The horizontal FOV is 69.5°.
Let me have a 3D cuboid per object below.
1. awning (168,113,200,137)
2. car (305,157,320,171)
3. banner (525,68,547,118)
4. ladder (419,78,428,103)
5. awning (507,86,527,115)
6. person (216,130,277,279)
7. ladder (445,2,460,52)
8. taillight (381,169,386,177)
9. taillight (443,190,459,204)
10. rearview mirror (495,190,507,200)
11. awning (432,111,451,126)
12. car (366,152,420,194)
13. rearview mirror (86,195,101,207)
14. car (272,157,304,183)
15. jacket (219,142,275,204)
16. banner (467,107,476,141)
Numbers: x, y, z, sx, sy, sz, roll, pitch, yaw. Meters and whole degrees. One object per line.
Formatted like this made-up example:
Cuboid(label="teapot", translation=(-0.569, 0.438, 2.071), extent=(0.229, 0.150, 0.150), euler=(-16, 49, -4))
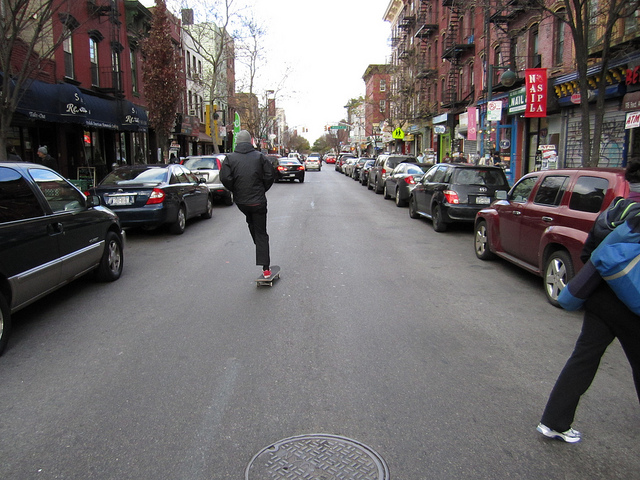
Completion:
Cuboid(label="awning", translation=(-11.956, -10.183, 41.206), extent=(1.809, 2.642, 12.363), euler=(-3, 18, -12))
Cuboid(label="car", translation=(-1.017, -10.021, 61.042), extent=(1.904, 1.665, 2.525), euler=(-1, 16, -2))
Cuboid(label="banner", translation=(8.978, -6.135, 19.112), extent=(0.834, 1.859, 0.651), euler=(3, 14, 13))
Cuboid(label="ladder", translation=(9.663, -14.082, 43.081), extent=(0.499, 1.983, 1.631), euler=(-2, 15, -7))
Cuboid(label="awning", translation=(9.793, -7.023, 23.172), extent=(1.059, 1.192, 0.666), euler=(-12, 22, -7))
Cuboid(label="person", translation=(-1.088, -0.616, 7.503), extent=(0.961, 2.244, 0.556), euler=(9, 17, 33))
Cuboid(label="ladder", translation=(9.887, -15.814, 34.128), extent=(0.613, 2.818, 1.983), euler=(1, 15, 7))
Cuboid(label="taillight", translation=(3.262, -3.469, 23.596), extent=(0.235, 0.535, 0.261), euler=(0, 3, 19))
Cuboid(label="taillight", translation=(3.419, -1.142, 11.959), extent=(0.310, 0.188, 0.215), euler=(-3, 12, -5))
Cuboid(label="rearview mirror", translation=(3.306, -0.824, 8.382), extent=(0.190, 0.172, 0.275), euler=(12, 20, 37))
Cuboid(label="awning", translation=(9.546, -9.467, 35.996), extent=(0.571, 0.973, 4.873), euler=(1, 17, 6))
Cuboid(label="car", translation=(3.618, -3.734, 24.859), extent=(1.455, 1.634, 3.603), euler=(-1, 15, 4))
Cuboid(label="rearview mirror", translation=(-3.530, -0.604, 7.178), extent=(0.186, 0.236, 0.385), euler=(-9, 18, -28))
Cuboid(label="car", translation=(-2.283, -5.110, 34.375), extent=(2.034, 1.641, 1.436), euler=(-3, 15, -9))
Cuboid(label="jacket", translation=(-1.177, -1.086, 7.455), extent=(0.880, 0.963, 0.583), euler=(-2, 15, -7))
Cuboid(label="banner", translation=(7.172, -5.504, 21.701), extent=(0.358, 1.443, 0.834), euler=(-4, 15, -14))
